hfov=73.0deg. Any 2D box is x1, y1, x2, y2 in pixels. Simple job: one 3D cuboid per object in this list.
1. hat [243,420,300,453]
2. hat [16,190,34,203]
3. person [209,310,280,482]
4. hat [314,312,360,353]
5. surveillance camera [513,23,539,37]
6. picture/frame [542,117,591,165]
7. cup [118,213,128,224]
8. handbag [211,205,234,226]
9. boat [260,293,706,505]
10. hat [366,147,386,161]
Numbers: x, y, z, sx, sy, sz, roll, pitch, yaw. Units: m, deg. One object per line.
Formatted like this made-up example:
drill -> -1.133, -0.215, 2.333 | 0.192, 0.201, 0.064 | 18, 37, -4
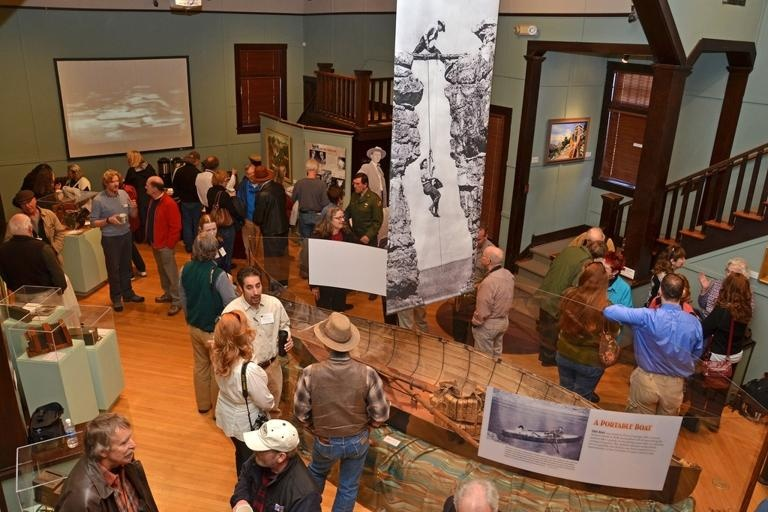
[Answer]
hat -> -0.840, 1.320, 3.790 | 0.315, 0.125, 0.224 | 8, 28, -21
hat -> -4.851, -0.784, 6.929 | 0.234, 0.161, 0.240 | -4, 16, -16
person -> -1.299, 1.143, 5.382 | 0.722, 1.993, 0.637 | -6, 17, -16
hat -> -0.414, 0.674, 4.484 | 0.343, 0.295, 0.332 | -4, 16, -17
surveillance camera -> 2.295, -3.653, 8.396 | 0.372, 0.183, 0.184 | 1, 11, 35
picture/frame -> 3.360, -2.092, 9.470 | 1.097, 0.788, 0.039 | -10, 17, -28
cup -> -3.844, -0.542, 7.574 | 0.084, 0.154, 0.161 | 0, 15, 1
handbag -> -2.476, -0.606, 7.842 | 0.345, 0.369, 0.143 | 3, 28, 9
boat -> 1.011, 1.386, 4.891 | 3.752, 0.544, 0.890 | 20, 14, 20
hat -> -0.172, -1.853, 9.377 | 0.397, 0.412, 0.122 | 3, 59, -5
